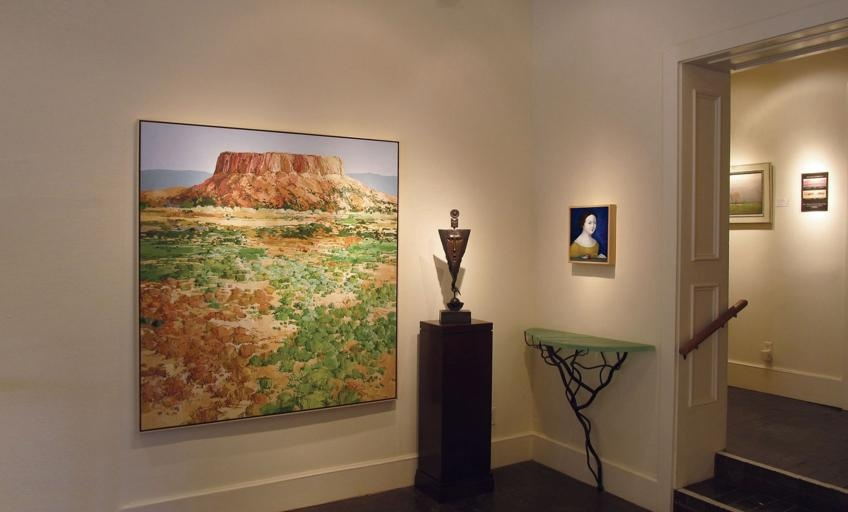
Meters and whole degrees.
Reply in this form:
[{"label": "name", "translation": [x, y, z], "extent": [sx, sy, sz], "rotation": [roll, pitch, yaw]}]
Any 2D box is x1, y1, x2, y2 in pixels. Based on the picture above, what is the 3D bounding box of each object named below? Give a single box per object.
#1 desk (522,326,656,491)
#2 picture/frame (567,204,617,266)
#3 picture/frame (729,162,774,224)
[{"label": "desk", "translation": [1.658, 1.692, 5.837], "extent": [0.586, 1.579, 1.825], "rotation": [-6, -2, -22]}, {"label": "picture/frame", "translation": [1.797, -0.229, 5.714], "extent": [0.113, 0.804, 0.617], "rotation": [-2, 6, -45]}, {"label": "picture/frame", "translation": [4.376, -0.823, 7.249], "extent": [0.098, 0.827, 0.568], "rotation": [-6, 10, -42]}]
